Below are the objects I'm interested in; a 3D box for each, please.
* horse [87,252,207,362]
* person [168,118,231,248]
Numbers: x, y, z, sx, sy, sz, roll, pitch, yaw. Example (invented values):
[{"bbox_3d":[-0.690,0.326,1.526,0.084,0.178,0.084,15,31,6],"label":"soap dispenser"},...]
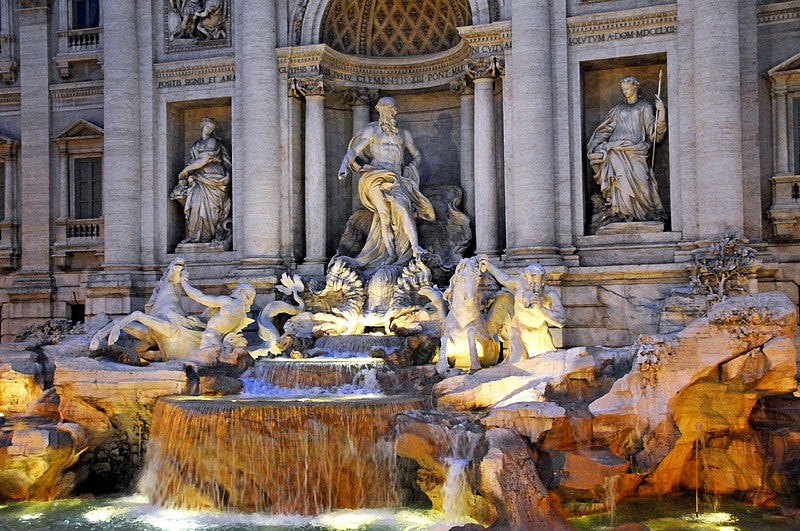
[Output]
[{"bbox_3d":[-5.400,1.062,22.331,2.817,2.355,1.008,0,-8,44],"label":"horse"},{"bbox_3d":[-5.111,-2.235,25.834,1.339,3.226,0.666,-2,-6,-2],"label":"person"}]
